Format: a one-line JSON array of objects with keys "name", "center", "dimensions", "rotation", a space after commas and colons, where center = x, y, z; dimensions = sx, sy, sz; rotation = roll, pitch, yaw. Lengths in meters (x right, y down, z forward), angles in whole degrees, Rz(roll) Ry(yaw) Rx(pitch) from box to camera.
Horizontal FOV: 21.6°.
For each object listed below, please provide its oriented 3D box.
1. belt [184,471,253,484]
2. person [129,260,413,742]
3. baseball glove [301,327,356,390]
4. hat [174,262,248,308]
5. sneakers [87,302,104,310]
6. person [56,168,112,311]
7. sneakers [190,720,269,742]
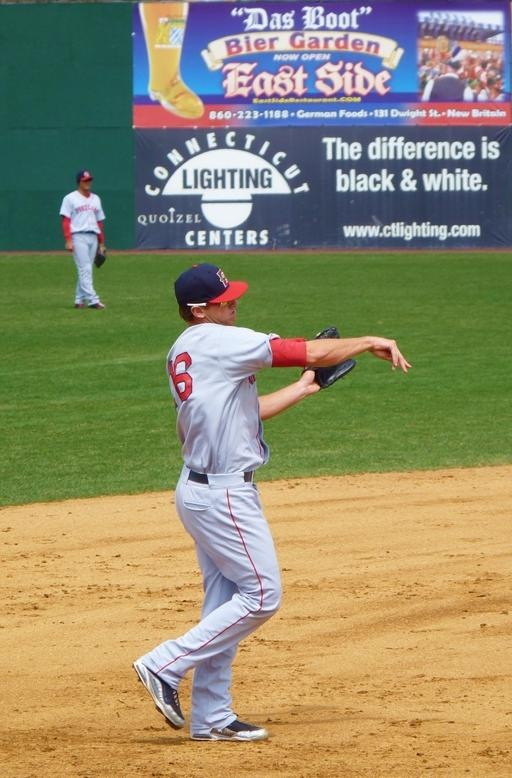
[{"name": "belt", "center": [-0.151, 0.368, 5.662], "dimensions": [0.271, 0.055, 0.088], "rotation": [-2, 13, -6]}, {"name": "person", "center": [-0.089, 0.493, 5.797], "dimensions": [1.024, 2.029, 0.569], "rotation": [-10, 16, -33]}, {"name": "baseball glove", "center": [0.343, -0.153, 6.159], "dimensions": [0.164, 0.130, 0.351], "rotation": [34, 40, -8]}, {"name": "hat", "center": [-0.198, -0.431, 5.777], "dimensions": [0.264, 0.135, 0.181], "rotation": [-15, 19, 5]}, {"name": "sneakers", "center": [-2.019, -1.050, 16.894], "dimensions": [0.195, 0.084, 0.083], "rotation": [-3, 10, 18]}, {"name": "person", "center": [-2.127, -1.783, 16.419], "dimensions": [0.486, 1.723, 0.984], "rotation": [-1, 14, -2]}, {"name": "sneakers", "center": [-0.123, 1.460, 5.850], "dimensions": [0.292, 0.105, 0.113], "rotation": [-4, -1, 5]}]
